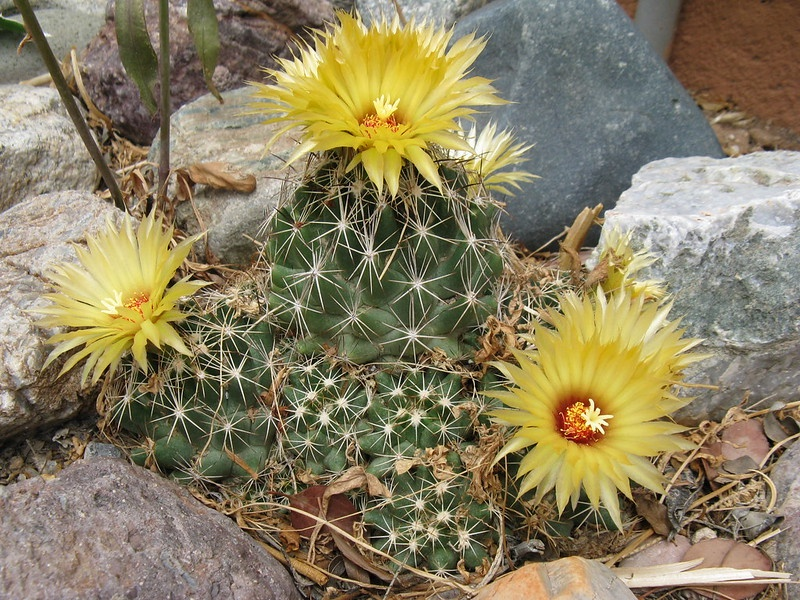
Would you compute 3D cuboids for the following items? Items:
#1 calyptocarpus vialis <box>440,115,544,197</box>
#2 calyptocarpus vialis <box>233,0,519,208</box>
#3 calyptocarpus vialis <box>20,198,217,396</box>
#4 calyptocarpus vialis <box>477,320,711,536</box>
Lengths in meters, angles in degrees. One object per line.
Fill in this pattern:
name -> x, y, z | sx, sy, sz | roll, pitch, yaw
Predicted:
calyptocarpus vialis -> 0.245, -0.443, 2.371 | 0.335, 0.344, 0.163 | 5, 83, 38
calyptocarpus vialis -> -0.016, -0.533, 2.027 | 0.505, 0.526, 0.209 | 9, 80, -15
calyptocarpus vialis -> -0.746, -0.032, 2.104 | 0.483, 0.221, 0.468 | -20, 68, -1
calyptocarpus vialis -> 0.468, 0.260, 1.889 | 0.502, 0.322, 0.471 | 19, 45, 7
